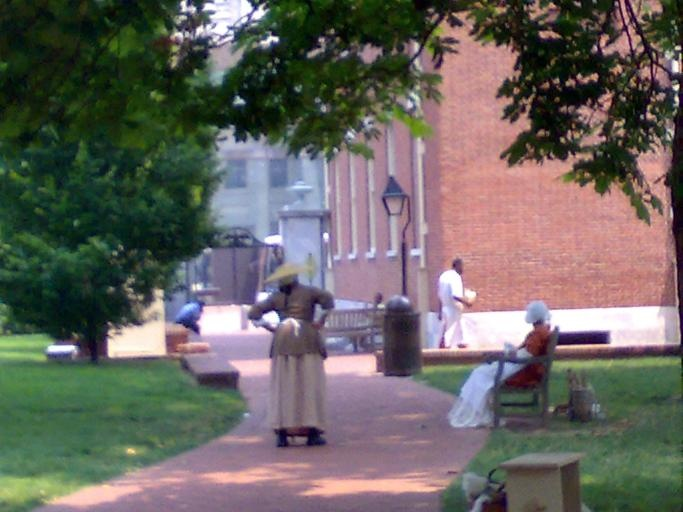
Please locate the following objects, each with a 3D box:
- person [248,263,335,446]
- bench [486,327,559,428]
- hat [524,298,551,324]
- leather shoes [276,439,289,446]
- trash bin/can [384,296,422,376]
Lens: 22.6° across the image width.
[{"bbox_3d":[-0.616,1.317,22.424,0.986,2.415,0.711,-1,-4,12],"label":"person"},{"bbox_3d":[2.503,1.682,23.180,1.183,1.660,1.269,1,-6,5],"label":"bench"},{"bbox_3d":[2.612,0.769,22.916,0.305,0.203,0.318,-5,16,8],"label":"hat"},{"bbox_3d":[-0.793,2.474,22.402,0.116,0.110,0.116,0,-2,0],"label":"leather shoes"},{"bbox_3d":[0.992,1.350,28.509,0.630,1.357,0.673,-1,-4,1],"label":"trash bin/can"}]
